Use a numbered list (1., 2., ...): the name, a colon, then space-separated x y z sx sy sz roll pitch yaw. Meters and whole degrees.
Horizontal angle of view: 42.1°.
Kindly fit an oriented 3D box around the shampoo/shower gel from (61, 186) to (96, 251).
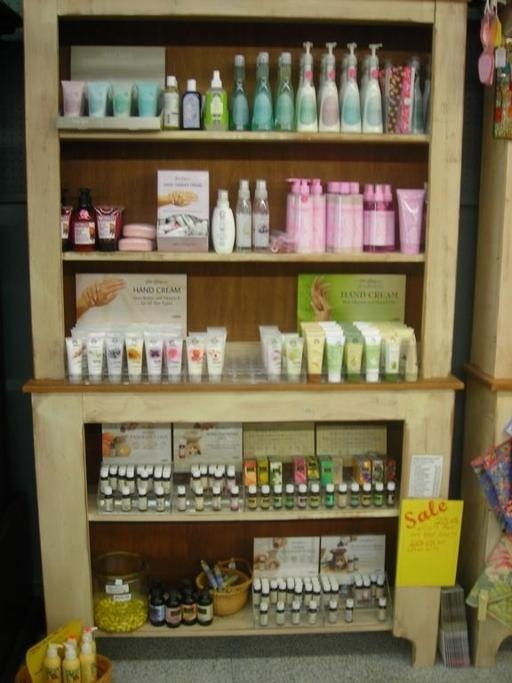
1. shampoo/shower gel: -0.530 -0.366 1.993 0.102 0.172 0.160 -2 12 -16

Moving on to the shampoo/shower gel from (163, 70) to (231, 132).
1. shampoo/shower gel: -0.175 -0.694 1.936 0.144 0.203 0.059 -2 13 -9

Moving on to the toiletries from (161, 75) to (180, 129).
1. toiletries: -0.248 -0.687 1.923 0.052 0.148 0.076 -1 10 -8

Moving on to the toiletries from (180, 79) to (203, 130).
1. toiletries: -0.187 -0.675 1.939 0.062 0.208 0.050 1 -26 -11
